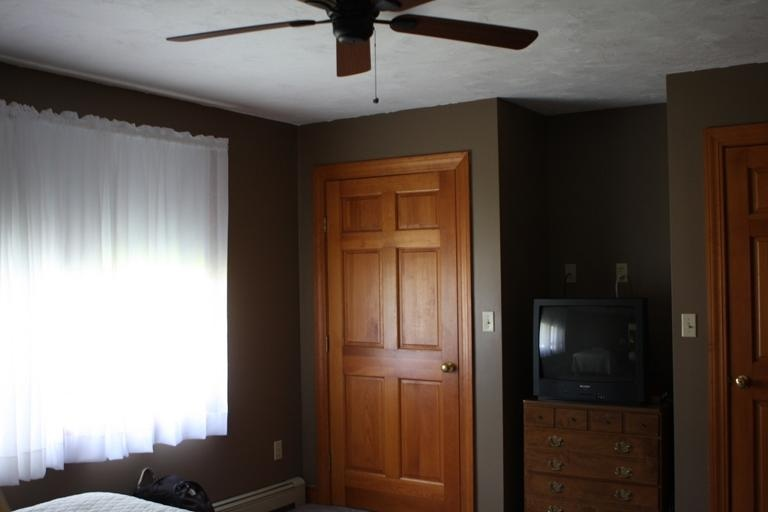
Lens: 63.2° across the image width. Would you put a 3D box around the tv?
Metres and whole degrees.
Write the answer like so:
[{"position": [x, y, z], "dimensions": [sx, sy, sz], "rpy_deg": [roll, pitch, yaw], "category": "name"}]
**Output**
[{"position": [1.553, 0.723, 4.678], "dimensions": [0.808, 0.751, 0.510], "rpy_deg": [-4, -13, 31], "category": "tv"}]
